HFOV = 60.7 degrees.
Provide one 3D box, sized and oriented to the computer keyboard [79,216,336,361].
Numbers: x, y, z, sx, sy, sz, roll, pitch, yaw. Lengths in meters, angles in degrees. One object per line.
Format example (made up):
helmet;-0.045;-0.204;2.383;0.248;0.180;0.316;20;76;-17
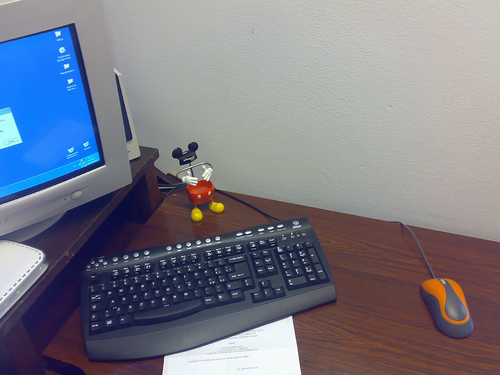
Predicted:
computer keyboard;-0.103;0.212;0.964;0.542;0.096;0.250;-13;40;-3

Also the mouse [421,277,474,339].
mouse;0.425;0.242;0.915;0.096;0.048;0.147;-10;40;5
